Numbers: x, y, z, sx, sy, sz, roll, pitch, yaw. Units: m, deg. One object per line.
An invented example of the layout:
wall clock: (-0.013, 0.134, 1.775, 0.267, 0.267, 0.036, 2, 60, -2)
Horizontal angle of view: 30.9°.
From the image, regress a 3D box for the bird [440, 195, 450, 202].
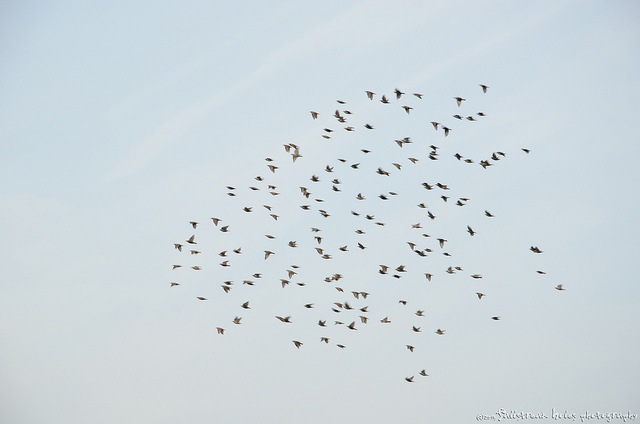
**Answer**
bird: (3.791, -0.455, 35.254, 0.257, 0.259, 0.111, -1, 24, 8)

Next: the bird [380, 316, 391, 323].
bird: (1.969, 3.260, 34.933, 0.263, 0.231, 0.105, -19, -19, 30)

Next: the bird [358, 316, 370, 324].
bird: (1.321, 3.257, 35.104, 0.364, 0.237, 0.158, 24, -30, -28)

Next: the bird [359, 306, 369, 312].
bird: (1.354, 2.960, 35.088, 0.219, 0.169, 0.143, -29, 3, -4)

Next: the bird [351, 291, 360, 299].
bird: (1.099, 2.517, 35.176, 0.125, 0.244, 0.224, -26, 4, 39)

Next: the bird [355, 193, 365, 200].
bird: (0.857, -0.304, 24.414, 0.087, 0.206, 0.203, 16, -1, -40)

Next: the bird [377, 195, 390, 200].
bird: (1.302, -0.299, 23.767, 0.210, 0.090, 0.203, -5, 3, 16)

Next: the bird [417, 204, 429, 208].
bird: (1.978, -0.114, 22.341, 0.135, 0.062, 0.153, 1, -9, 43)
